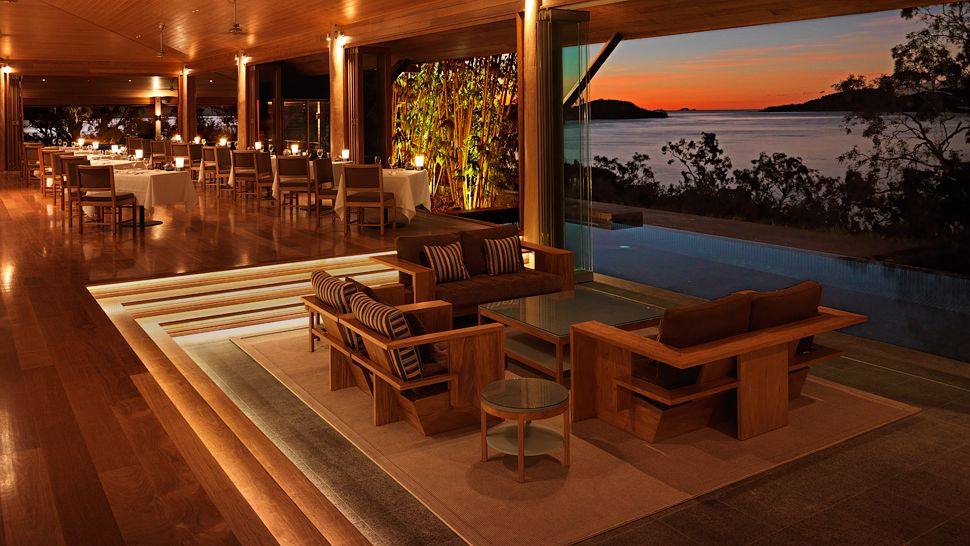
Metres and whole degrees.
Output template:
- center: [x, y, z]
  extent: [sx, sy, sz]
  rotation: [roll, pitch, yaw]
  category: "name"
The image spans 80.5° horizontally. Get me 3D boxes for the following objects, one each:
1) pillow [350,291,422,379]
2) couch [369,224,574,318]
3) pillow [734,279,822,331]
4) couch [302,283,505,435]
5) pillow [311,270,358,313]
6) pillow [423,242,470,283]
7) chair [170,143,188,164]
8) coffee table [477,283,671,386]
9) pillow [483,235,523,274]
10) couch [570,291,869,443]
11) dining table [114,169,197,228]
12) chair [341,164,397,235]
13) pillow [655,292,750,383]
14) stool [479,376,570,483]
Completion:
- center: [-0.881, 0.566, 4.943]
  extent: [0.308, 0.520, 0.811]
  rotation: [-12, 16, -25]
  category: "pillow"
- center: [-0.104, -0.009, 6.832]
  extent: [2.090, 0.803, 1.076]
  rotation: [-8, 19, -29]
  category: "couch"
- center: [2.580, 0.294, 5.029]
  extent: [0.566, 0.476, 0.176]
  rotation: [6, 7, -23]
  category: "pillow"
- center: [-0.935, 0.765, 5.759]
  extent: [1.130, 0.809, 2.210]
  rotation: [-4, 12, -35]
  category: "couch"
- center: [-1.493, 0.192, 5.564]
  extent: [0.185, 0.233, 0.542]
  rotation: [-15, 14, -32]
  category: "pillow"
- center: [-0.484, -0.118, 6.596]
  extent: [0.472, 0.367, 0.231]
  rotation: [-13, 12, -37]
  category: "pillow"
- center: [-7.899, -3.138, 14.727]
  extent: [0.386, 0.392, 1.077]
  rotation: [-11, 16, -28]
  category: "chair"
- center: [0.922, 0.488, 6.050]
  extent: [1.269, 0.435, 1.128]
  rotation: [-12, 18, -36]
  category: "coffee table"
- center: [0.212, -0.219, 6.894]
  extent: [0.504, 0.401, 0.139]
  rotation: [0, -11, -22]
  category: "pillow"
- center: [2.133, 0.865, 5.337]
  extent: [2.358, 0.814, 1.301]
  rotation: [-8, 12, -32]
  category: "couch"
- center: [-6.125, -1.549, 10.350]
  extent: [1.409, 0.511, 1.279]
  rotation: [5, 18, -13]
  category: "dining table"
- center: [-2.120, -1.429, 10.690]
  extent: [0.952, 1.177, 1.658]
  rotation: [-2, 14, 4]
  category: "chair"
- center: [1.718, 0.510, 5.090]
  extent: [0.696, 0.705, 0.826]
  rotation: [-8, 13, -22]
  category: "pillow"
- center: [0.314, 1.212, 4.661]
  extent: [0.738, 0.627, 0.595]
  rotation: [0, 15, 11]
  category: "stool"
